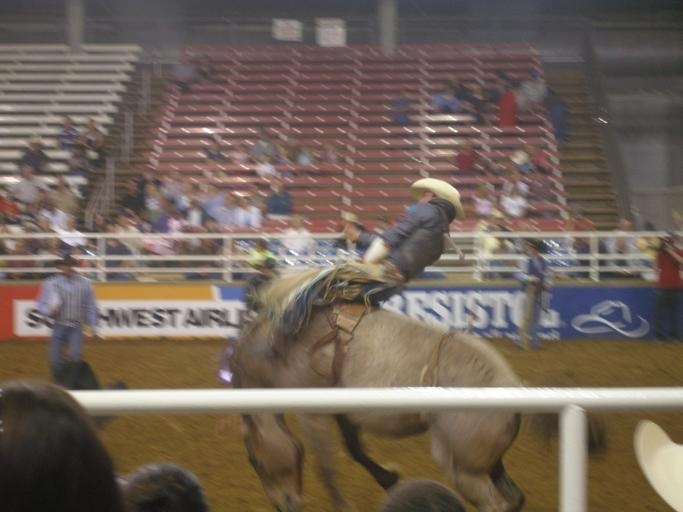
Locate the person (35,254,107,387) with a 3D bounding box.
[{"bbox_3d":[-4.412,0.977,24.413,0.872,2.040,0.489,0,3,-11],"label":"person"}]
